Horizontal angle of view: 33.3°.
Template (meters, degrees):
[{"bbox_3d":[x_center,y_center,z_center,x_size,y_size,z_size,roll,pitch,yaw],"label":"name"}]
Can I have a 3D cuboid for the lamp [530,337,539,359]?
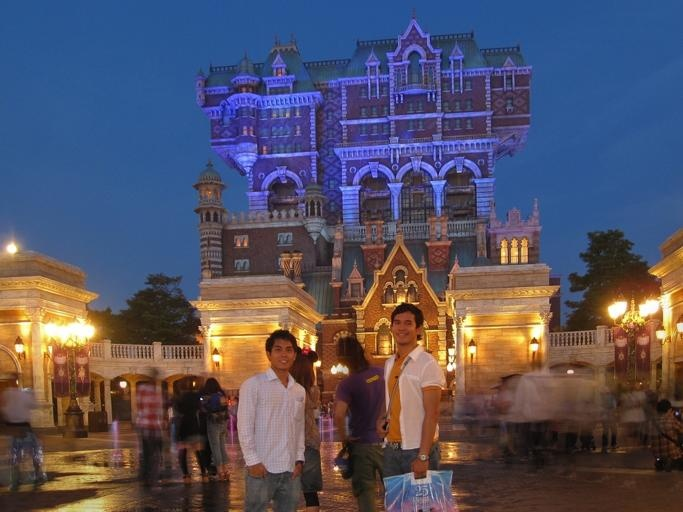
[{"bbox_3d":[8.960,4.276,53.300,0.449,1.014,1.624,-3,-8,9],"label":"lamp"}]

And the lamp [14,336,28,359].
[{"bbox_3d":[-13.639,3.881,48.649,0.452,0.882,3.047,1,-8,-16],"label":"lamp"}]

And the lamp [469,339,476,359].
[{"bbox_3d":[6.164,4.392,54.036,0.355,0.935,0.812,-2,-7,9],"label":"lamp"}]

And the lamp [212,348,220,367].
[{"bbox_3d":[-5.982,4.889,54.947,0.468,0.868,0.393,1,-8,-20],"label":"lamp"}]
